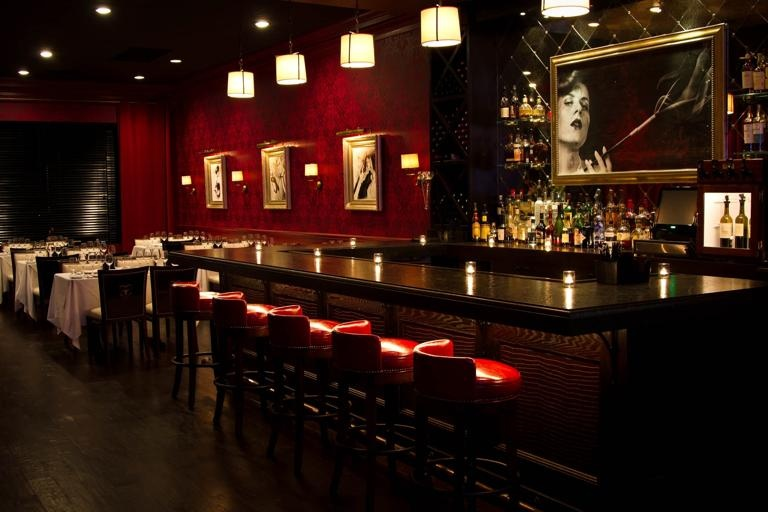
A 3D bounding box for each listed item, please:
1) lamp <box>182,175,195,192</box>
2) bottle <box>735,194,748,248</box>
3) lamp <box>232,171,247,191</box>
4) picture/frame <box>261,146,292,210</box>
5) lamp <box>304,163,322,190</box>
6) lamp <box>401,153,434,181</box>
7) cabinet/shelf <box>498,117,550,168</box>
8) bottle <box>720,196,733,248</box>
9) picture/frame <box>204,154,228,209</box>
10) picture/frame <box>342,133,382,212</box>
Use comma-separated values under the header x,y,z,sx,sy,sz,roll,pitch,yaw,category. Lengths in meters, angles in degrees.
x,y,z,sx,sy,sz,roll,pitch,yaw,category
-4.523,-1.670,14.062,0.251,0.400,0.730,-7,10,-24,lamp
2.954,-0.287,5.002,0.099,0.444,0.103,-3,9,0,bottle
-2.960,-1.525,12.288,0.195,0.422,0.585,-9,11,-34,lamp
-1.954,-1.457,11.190,0.146,1.428,1.151,-1,2,-37,picture/frame
-1.252,-1.365,10.488,0.225,0.464,0.464,-8,11,-32,lamp
0.489,-1.256,8.483,0.439,0.458,0.264,3,11,29,lamp
1.720,-1.373,7.296,0.632,0.645,0.224,1,3,23,cabinet/shelf
2.885,-0.290,5.093,0.080,0.438,0.113,-11,12,-42,bottle
-3.550,-1.600,12.903,0.138,1.424,1.150,0,0,-32,picture/frame
-0.310,-1.328,9.463,0.146,1.499,1.204,-2,2,-40,picture/frame
